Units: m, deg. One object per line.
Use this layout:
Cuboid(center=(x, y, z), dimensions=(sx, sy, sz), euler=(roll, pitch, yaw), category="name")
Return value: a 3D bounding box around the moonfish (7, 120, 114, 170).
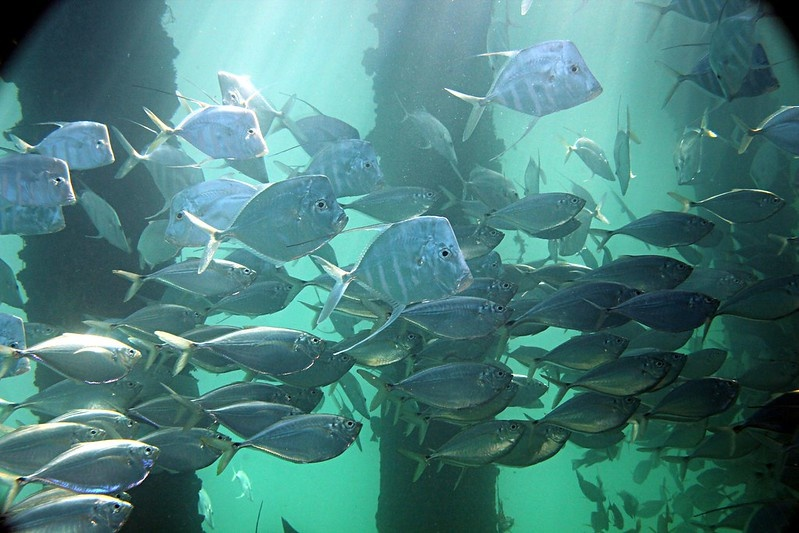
Cuboid(center=(-4.942, -1.743, 10.597), dimensions=(1.648, 0.706, 0.268), euler=(-3, 4, 12), category="moonfish")
